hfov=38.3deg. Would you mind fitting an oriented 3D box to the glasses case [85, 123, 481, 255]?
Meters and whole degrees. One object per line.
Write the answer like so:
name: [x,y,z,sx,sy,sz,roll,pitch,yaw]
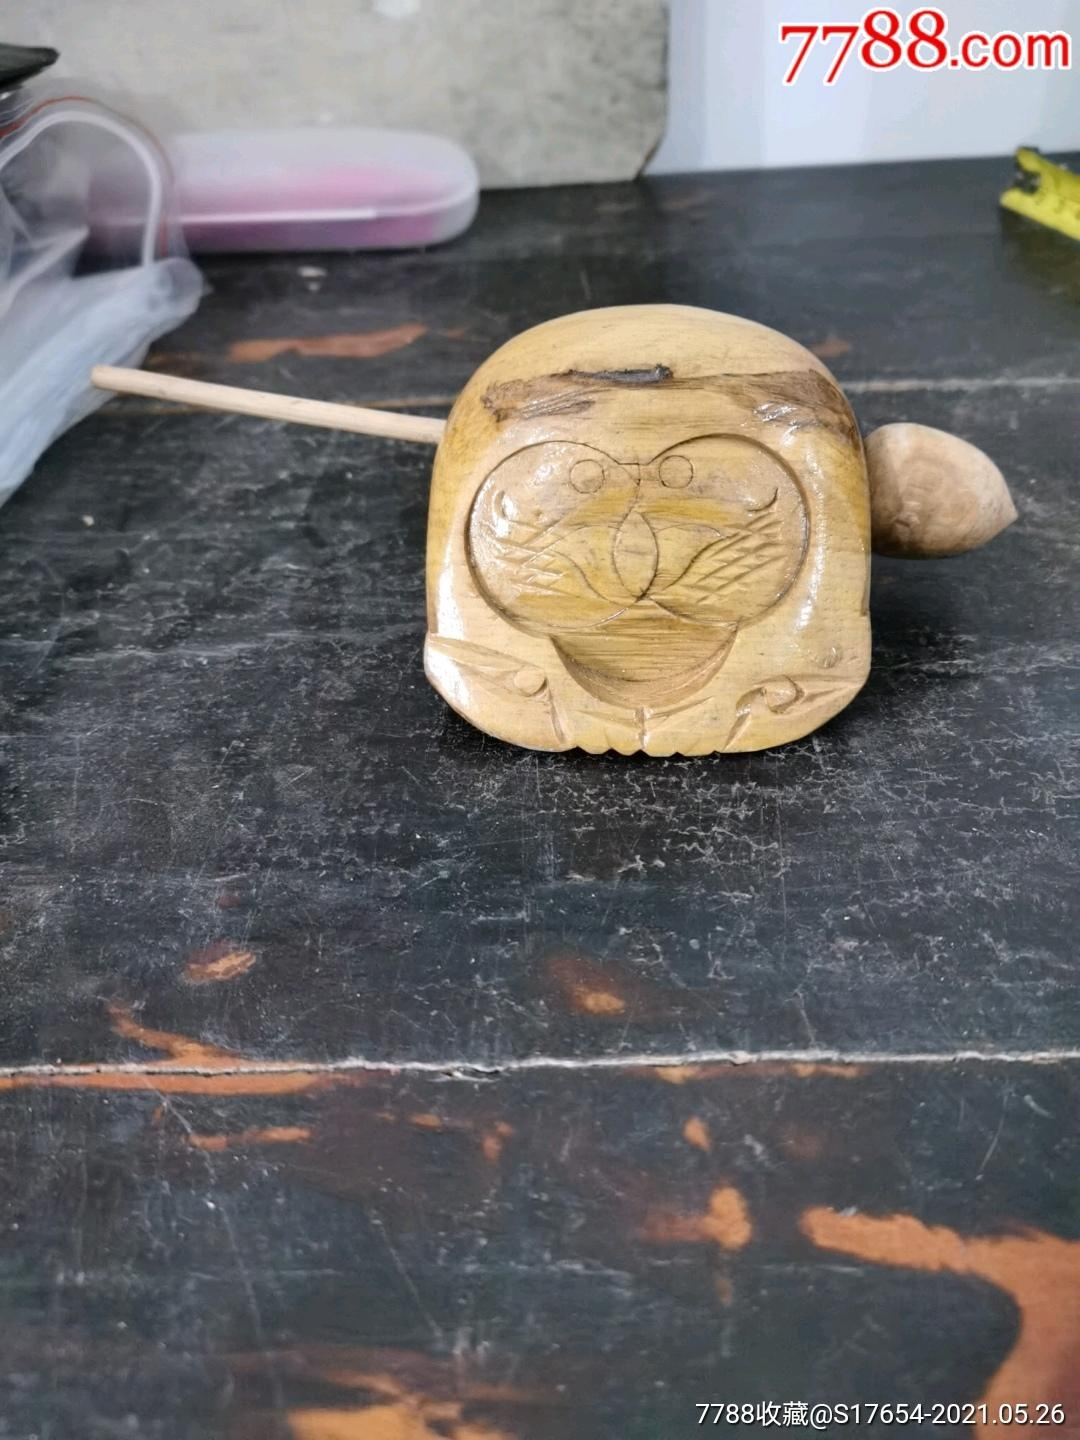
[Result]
glasses case: [-0.313,-0.595,1.787,0.487,0.100,0.228,-2,44,-1]
